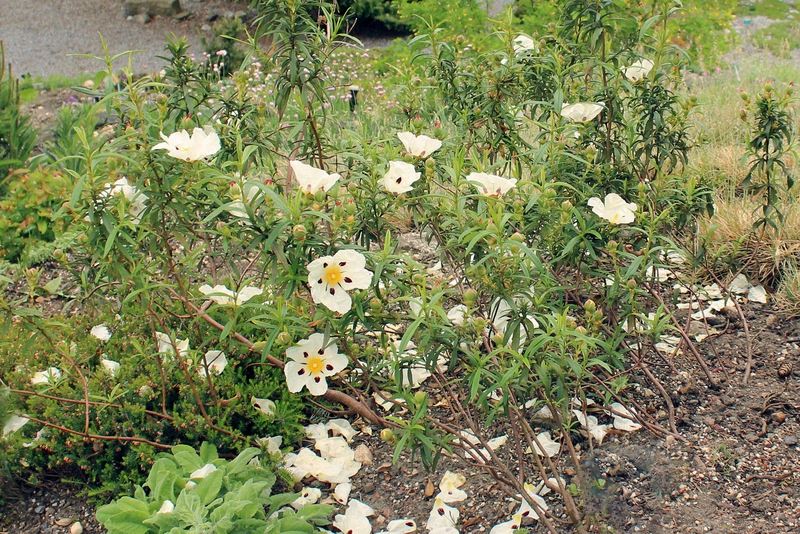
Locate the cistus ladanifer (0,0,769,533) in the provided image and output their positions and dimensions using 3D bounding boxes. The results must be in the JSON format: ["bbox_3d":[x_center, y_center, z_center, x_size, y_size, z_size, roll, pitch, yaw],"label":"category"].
[{"bbox_3d":[0.019,0.143,6.487,3.390,2.785,3.752,1,41,2],"label":"cistus ladanifer"}]
